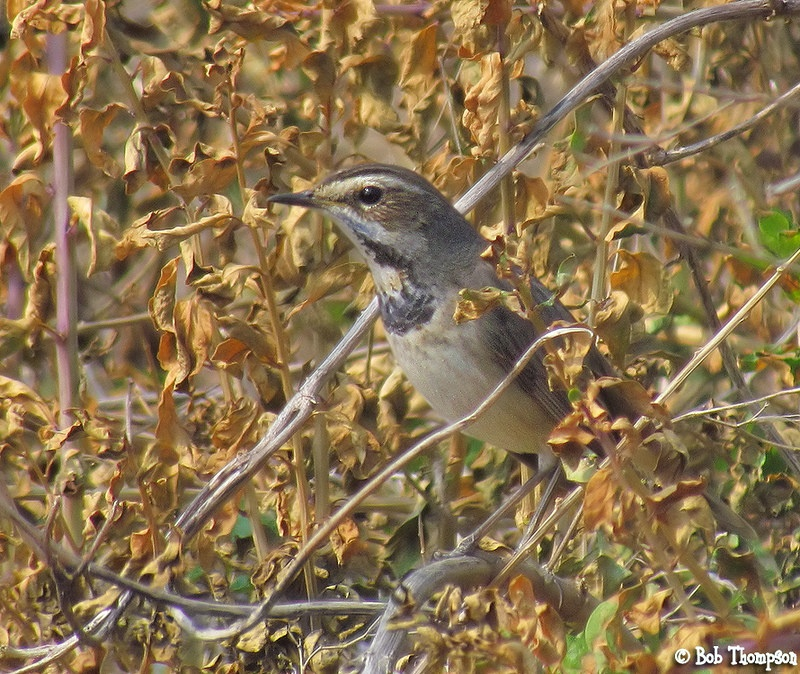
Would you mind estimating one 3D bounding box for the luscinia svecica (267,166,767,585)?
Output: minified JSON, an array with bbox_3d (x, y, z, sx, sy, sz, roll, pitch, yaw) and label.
[{"bbox_3d":[0.166,0.015,5.007,1.316,1.066,0.416,20,-24,-27],"label":"luscinia svecica"}]
